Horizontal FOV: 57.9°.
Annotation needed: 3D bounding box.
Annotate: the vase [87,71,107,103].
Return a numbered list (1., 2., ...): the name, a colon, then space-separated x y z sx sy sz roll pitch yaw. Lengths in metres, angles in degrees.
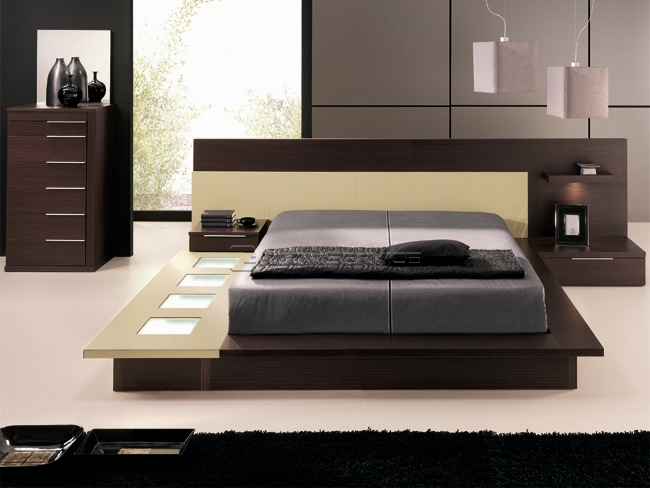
1. vase: -2.062 -1.418 5.280 0.199 0.240 0.181 15 23 22

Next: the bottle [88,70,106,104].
1. bottle: -2.058 -1.421 5.290 0.205 0.241 0.168 4 19 3

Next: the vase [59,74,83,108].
1. vase: -2.175 -1.300 5.023 0.201 0.248 0.148 3 21 -12

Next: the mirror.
1. mirror: -2.256 -1.587 5.216 0.855 0.786 0.042 1 1 -5

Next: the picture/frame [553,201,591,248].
1. picture/frame: 2.027 -0.159 4.834 0.024 0.318 0.258 -12 12 -41

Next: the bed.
1. bed: 0.496 0.106 3.868 2.014 0.404 2.077 2 11 8
